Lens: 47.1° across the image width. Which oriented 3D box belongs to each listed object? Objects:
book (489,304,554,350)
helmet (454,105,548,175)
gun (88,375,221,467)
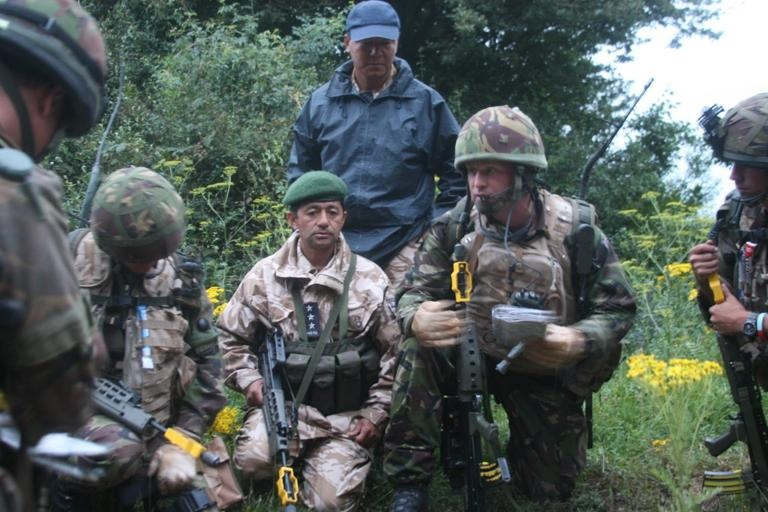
[{"bbox_3d":[0.959,0.481,6.016,0.527,0.242,0.368,9,9,44],"label":"book"},{"bbox_3d":[0.837,-0.835,6.391,0.573,0.483,0.446,-3,4,-5],"label":"helmet"},{"bbox_3d":[-1.649,1.162,6.182,0.997,0.167,0.369,36,44,12],"label":"gun"}]
